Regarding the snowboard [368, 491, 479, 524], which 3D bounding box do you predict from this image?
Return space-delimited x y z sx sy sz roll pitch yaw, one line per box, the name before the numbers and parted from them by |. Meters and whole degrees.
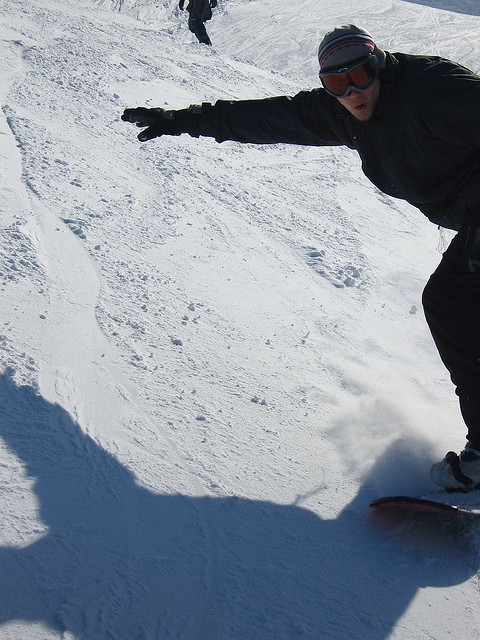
snowboard | 1.004 1.064 5.312 0.750 0.172 0.117 4 18 32
